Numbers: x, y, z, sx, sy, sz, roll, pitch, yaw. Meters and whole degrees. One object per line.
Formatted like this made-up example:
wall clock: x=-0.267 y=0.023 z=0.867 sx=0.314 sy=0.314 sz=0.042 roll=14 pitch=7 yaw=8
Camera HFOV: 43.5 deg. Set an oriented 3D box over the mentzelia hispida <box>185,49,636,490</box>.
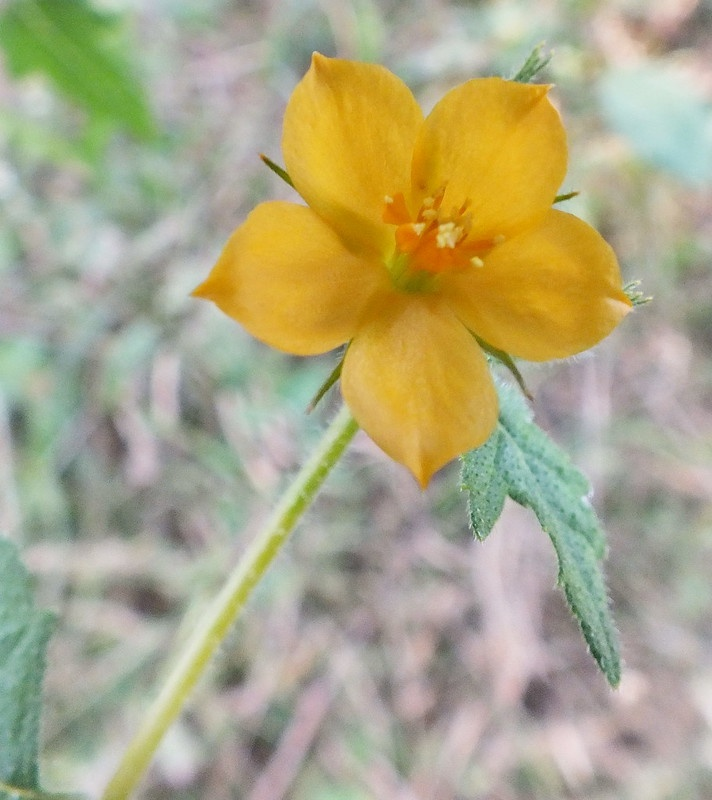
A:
mentzelia hispida: x=0.031 y=-0.075 z=0.398 sx=0.176 sy=0.087 sz=0.179 roll=-45 pitch=80 yaw=-2
